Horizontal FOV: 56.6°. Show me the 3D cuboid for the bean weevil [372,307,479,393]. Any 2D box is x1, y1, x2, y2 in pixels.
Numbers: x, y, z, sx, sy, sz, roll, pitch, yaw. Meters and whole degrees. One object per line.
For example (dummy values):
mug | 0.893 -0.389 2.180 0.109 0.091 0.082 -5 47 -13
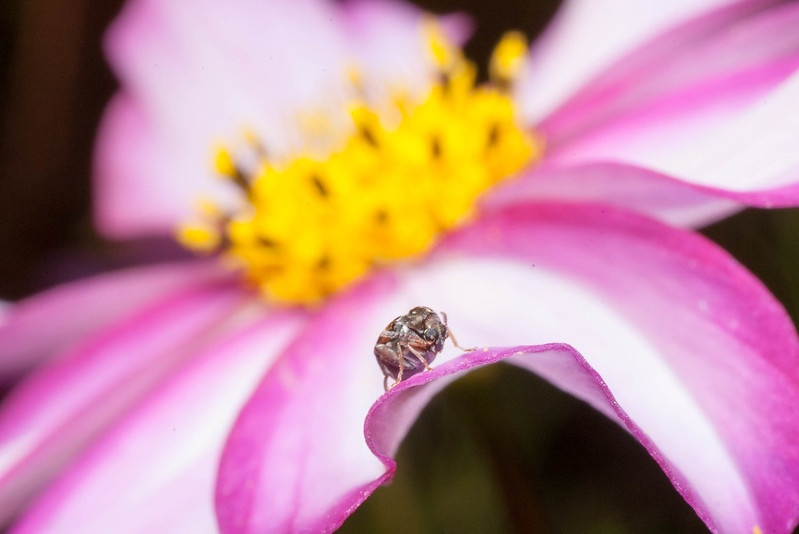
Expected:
bean weevil | 0.016 0.041 0.491 0.054 0.060 0.039 1 -70 41
